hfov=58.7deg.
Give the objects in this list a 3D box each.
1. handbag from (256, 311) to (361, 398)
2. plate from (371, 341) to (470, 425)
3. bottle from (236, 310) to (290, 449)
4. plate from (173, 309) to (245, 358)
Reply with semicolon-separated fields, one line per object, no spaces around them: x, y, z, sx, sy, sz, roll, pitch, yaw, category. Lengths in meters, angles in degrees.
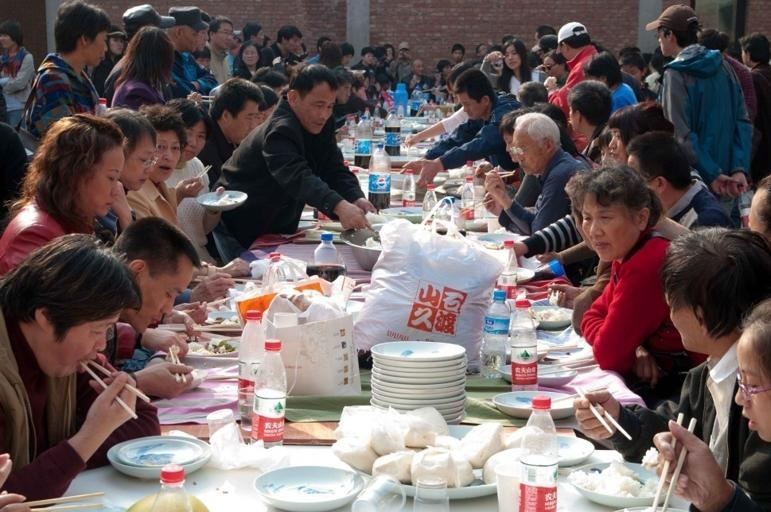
-0.254;0.382;2.579;0.407;0.283;0.165;-6;-13;-1;handbag
0.116;0.434;2.406;0.292;0.203;0.288;1;-1;-9;plate
-0.427;0.440;2.323;0.156;0.380;0.167;0;6;0;bottle
-0.768;0.372;3.080;0.212;0.041;0.291;1;16;-3;plate
